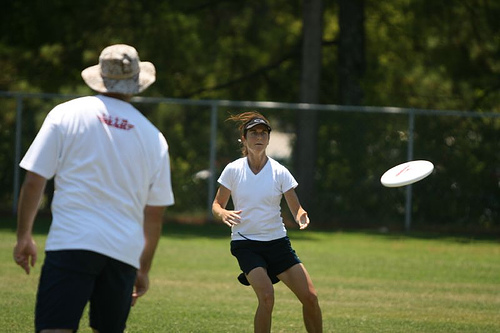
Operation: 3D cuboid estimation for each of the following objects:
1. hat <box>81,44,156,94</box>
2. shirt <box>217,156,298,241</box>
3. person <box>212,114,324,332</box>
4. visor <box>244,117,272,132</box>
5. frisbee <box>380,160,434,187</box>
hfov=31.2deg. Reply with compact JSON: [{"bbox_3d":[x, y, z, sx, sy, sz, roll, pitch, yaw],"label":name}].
[{"bbox_3d":[-1.299,-1.021,8.806,0.754,0.330,0.763,2,29,0],"label":"hat"},{"bbox_3d":[0.129,0.349,9.937,0.963,0.882,0.506,2,6,33],"label":"shirt"},{"bbox_3d":[0.210,0.594,9.705,0.804,2.195,1.218,-1,11,-40],"label":"person"},{"bbox_3d":[0.098,-0.459,9.897,0.297,0.166,0.125,5,9,-1],"label":"visor"},{"bbox_3d":[1.727,0.071,9.725,0.540,0.295,0.421,8,9,19],"label":"frisbee"}]
